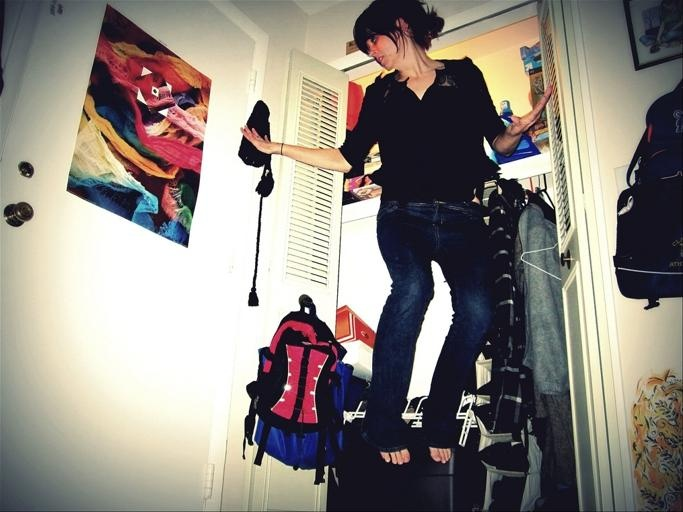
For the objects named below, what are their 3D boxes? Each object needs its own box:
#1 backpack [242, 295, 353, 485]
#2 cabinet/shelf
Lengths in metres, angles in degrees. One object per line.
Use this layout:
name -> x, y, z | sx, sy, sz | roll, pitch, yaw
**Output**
backpack -> -0.197, 0.626, 2.598 | 0.519, 0.820, 0.291 | 5, -10, -14
cabinet/shelf -> 0.424, -0.239, 2.631 | 0.879, 2.454, 0.317 | -2, -10, 10
